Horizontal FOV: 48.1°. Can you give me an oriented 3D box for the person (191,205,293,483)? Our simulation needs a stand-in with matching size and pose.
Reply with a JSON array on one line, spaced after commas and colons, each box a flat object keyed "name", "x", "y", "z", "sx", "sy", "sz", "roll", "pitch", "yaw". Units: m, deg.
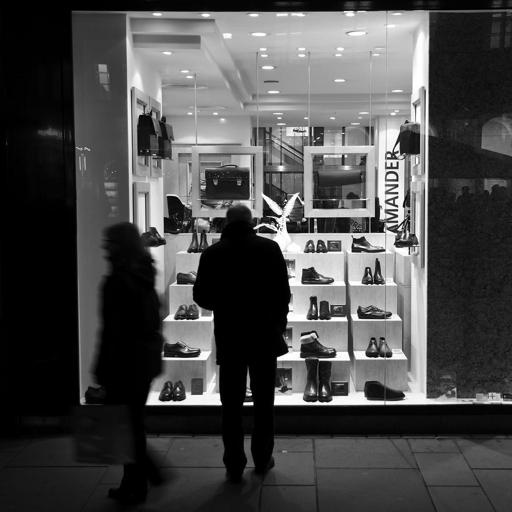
[{"name": "person", "x": -0.071, "y": 0.479, "z": 3.110, "sx": 0.514, "sy": 1.502, "sz": 0.204, "roll": -2, "pitch": 9, "yaw": -11}]

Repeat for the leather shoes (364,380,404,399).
[{"name": "leather shoes", "x": 0.858, "y": 0.904, "z": 3.850, "sx": 0.162, "sy": 0.085, "sz": 0.118, "roll": -1, "pitch": -4, "yaw": 7}]

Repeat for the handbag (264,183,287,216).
[{"name": "handbag", "x": 0.154, "y": -0.414, "z": 4.234, "sx": 0.063, "sy": 0.204, "sz": 0.118, "roll": -17, "pitch": 37, "yaw": -18}]

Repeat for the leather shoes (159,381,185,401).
[{"name": "leather shoes", "x": -0.561, "y": 0.909, "z": 3.831, "sx": 0.144, "sy": 0.113, "sz": 0.278, "roll": 1, "pitch": -4, "yaw": -6}]

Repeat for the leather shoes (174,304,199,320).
[{"name": "leather shoes", "x": -0.498, "y": 0.410, "z": 4.160, "sx": 0.154, "sy": 0.104, "sz": 0.236, "roll": 1, "pitch": 2, "yaw": -2}]

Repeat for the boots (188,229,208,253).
[{"name": "boots", "x": -0.413, "y": -0.107, "z": 4.218, "sx": 0.124, "sy": 0.184, "sz": 0.175, "roll": 0, "pitch": -2, "yaw": 1}]

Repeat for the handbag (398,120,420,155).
[{"name": "handbag", "x": 1.051, "y": -0.806, "z": 3.947, "sx": 0.116, "sy": 0.242, "sz": 0.144, "roll": -1, "pitch": -4, "yaw": -40}]

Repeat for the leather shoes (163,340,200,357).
[{"name": "leather shoes", "x": -0.520, "y": 0.662, "z": 4.102, "sx": 0.219, "sy": 0.115, "sz": 0.108, "roll": 1, "pitch": -7, "yaw": -8}]

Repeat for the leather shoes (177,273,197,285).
[{"name": "leather shoes", "x": -0.508, "y": 0.169, "z": 4.268, "sx": 0.208, "sy": 0.118, "sz": 0.085, "roll": -1, "pitch": -1, "yaw": -9}]

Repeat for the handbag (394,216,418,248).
[{"name": "handbag", "x": 1.043, "y": -0.157, "z": 4.007, "sx": 0.104, "sy": 0.271, "sz": 0.180, "roll": 1, "pitch": -2, "yaw": -41}]

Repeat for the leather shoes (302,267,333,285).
[{"name": "leather shoes", "x": 0.452, "y": 0.157, "z": 4.366, "sx": 0.254, "sy": 0.175, "sz": 0.101, "roll": 1, "pitch": -3, "yaw": -3}]

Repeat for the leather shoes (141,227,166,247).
[{"name": "leather shoes", "x": -0.667, "y": -0.113, "z": 3.809, "sx": 0.074, "sy": 0.113, "sz": 0.233, "roll": 0, "pitch": 2, "yaw": 13}]

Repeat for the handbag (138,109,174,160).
[{"name": "handbag", "x": -0.670, "y": -0.807, "z": 3.834, "sx": 0.108, "sy": 0.361, "sz": 0.341, "roll": 0, "pitch": 2, "yaw": 11}]

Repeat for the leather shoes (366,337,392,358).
[{"name": "leather shoes", "x": 0.874, "y": 0.659, "z": 4.094, "sx": 0.102, "sy": 0.062, "sz": 0.157, "roll": -1, "pitch": 17, "yaw": 3}]

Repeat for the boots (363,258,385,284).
[{"name": "boots", "x": 0.857, "y": 0.120, "z": 4.232, "sx": 0.121, "sy": 0.195, "sz": 0.182, "roll": 1, "pitch": -3, "yaw": 5}]

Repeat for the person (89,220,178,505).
[{"name": "person", "x": -0.623, "y": 0.590, "z": 2.878, "sx": 0.348, "sy": 1.469, "sz": 0.434, "roll": -3, "pitch": 10, "yaw": -21}]

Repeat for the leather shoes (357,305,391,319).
[{"name": "leather shoes", "x": 0.859, "y": 0.406, "z": 4.188, "sx": 0.232, "sy": 0.117, "sz": 0.095, "roll": 0, "pitch": -4, "yaw": 12}]

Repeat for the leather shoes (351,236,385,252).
[{"name": "leather shoes", "x": 0.815, "y": -0.087, "z": 4.233, "sx": 0.256, "sy": 0.152, "sz": 0.097, "roll": 0, "pitch": 1, "yaw": 10}]

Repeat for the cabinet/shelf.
[{"name": "cabinet/shelf", "x": 0.236, "y": 0.715, "z": 4.352, "sx": 1.757, "sy": 1.519, "sz": 1.011, "roll": -1, "pitch": -2, "yaw": -1}]

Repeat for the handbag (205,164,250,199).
[{"name": "handbag", "x": -0.198, "y": -0.523, "z": 4.143, "sx": 0.306, "sy": 0.311, "sz": 0.218, "roll": 1, "pitch": 8, "yaw": -2}]

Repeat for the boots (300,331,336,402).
[{"name": "boots", "x": 0.432, "y": 0.803, "z": 4.029, "sx": 0.327, "sy": 0.516, "sz": 0.249, "roll": -2, "pitch": -5, "yaw": 17}]
